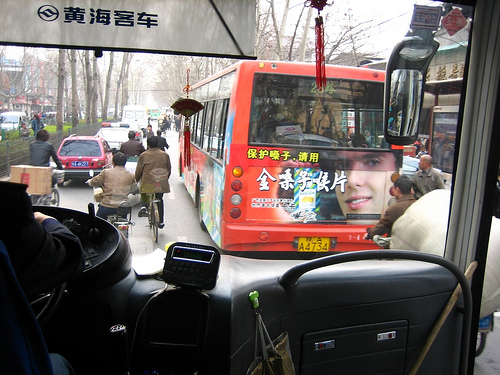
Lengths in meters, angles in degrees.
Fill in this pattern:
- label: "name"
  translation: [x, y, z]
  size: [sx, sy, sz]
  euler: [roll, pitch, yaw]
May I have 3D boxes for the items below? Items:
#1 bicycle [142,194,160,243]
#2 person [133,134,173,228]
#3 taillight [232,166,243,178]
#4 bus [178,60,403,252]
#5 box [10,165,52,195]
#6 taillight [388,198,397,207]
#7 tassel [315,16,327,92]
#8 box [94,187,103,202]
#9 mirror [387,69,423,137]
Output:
- label: "bicycle"
  translation: [-1.490, 0.492, 5.733]
  size: [0.189, 0.635, 0.602]
  euler: [-3, 14, -14]
- label: "person"
  translation: [-1.674, -0.088, 6.298]
  size: [0.763, 1.537, 0.797]
  euler: [-1, -2, 13]
- label: "taillight"
  translation: [-0.156, -0.204, 4.740]
  size: [0.118, 0.122, 0.093]
  euler: [-26, 9, 6]
- label: "bus"
  translation: [0.012, -0.885, 8.268]
  size: [2.584, 2.834, 7.634]
  euler: [1, 10, -17]
- label: "box"
  translation: [-1.225, -0.042, 2.055]
  size: [0.169, 0.134, 0.173]
  euler: [1, 4, 1]
- label: "taillight"
  translation: [1.945, 0.196, 5.017]
  size: [0.106, 0.113, 0.094]
  euler: [-22, -36, 34]
- label: "tassel"
  translation: [0.525, -1.014, 2.748]
  size: [0.079, 0.547, 0.109]
  euler: [-11, 34, -2]
- label: "box"
  translation: [-1.503, 0.072, 3.637]
  size: [0.076, 0.134, 0.136]
  euler: [3, 31, -21]
- label: "mirror"
  translation: [1.184, -0.651, 2.858]
  size: [0.306, 0.594, 0.061]
  euler: [4, 2, -4]
